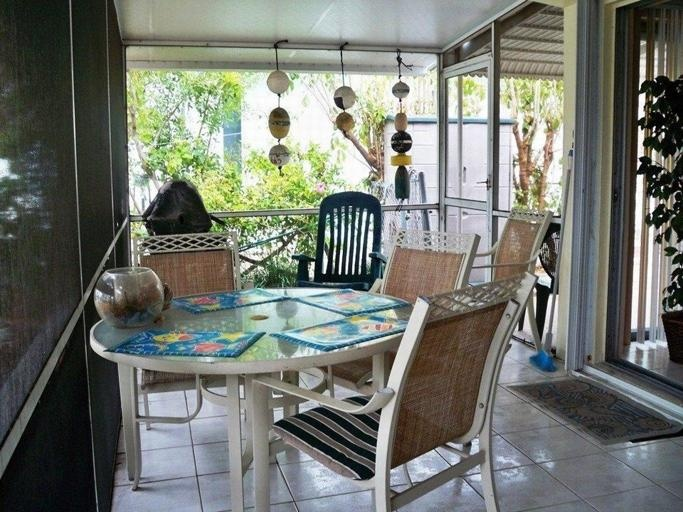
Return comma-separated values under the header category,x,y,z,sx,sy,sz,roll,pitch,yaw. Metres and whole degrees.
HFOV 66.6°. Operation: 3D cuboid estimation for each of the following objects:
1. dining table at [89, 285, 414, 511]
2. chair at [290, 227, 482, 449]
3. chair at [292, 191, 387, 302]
category,x,y,z,sx,sy,sz,roll,pitch,yaw
dining table,-0.398,0.366,1.994,0.969,0.589,0.986,4,8,33
chair,0.340,0.291,2.821,0.865,1.214,0.771,-2,5,-38
chair,0.052,-0.152,5.036,0.778,1.338,0.917,2,1,5
